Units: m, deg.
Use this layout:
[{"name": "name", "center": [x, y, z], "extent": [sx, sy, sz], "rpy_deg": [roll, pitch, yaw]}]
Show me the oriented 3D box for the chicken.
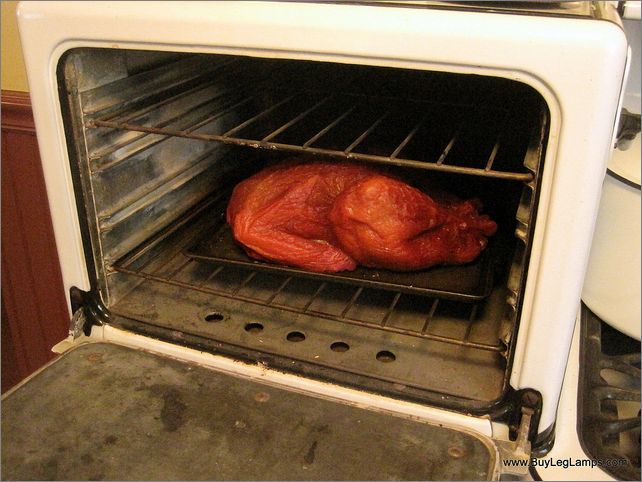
[{"name": "chicken", "center": [0.109, -0.087, 1.426], "extent": [0.695, 0.178, 0.404], "rpy_deg": [8, 36, 13]}]
